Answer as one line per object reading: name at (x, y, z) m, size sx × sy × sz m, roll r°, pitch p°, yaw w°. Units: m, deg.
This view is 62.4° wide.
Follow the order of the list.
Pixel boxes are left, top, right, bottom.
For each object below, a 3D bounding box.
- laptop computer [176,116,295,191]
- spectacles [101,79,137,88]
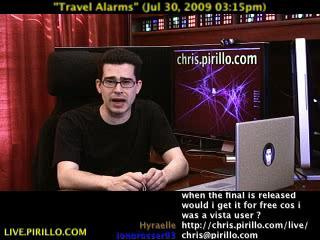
laptop computer at (0.282, 0.127, 0.943) m, size 0.244 × 0.240 × 0.362 m, roll -1°, pitch -5°, yaw -1°
spectacles at (-0.204, -0.177, 1.294) m, size 0.156 × 0.047 × 0.026 m, roll -3°, pitch 4°, yaw -7°
